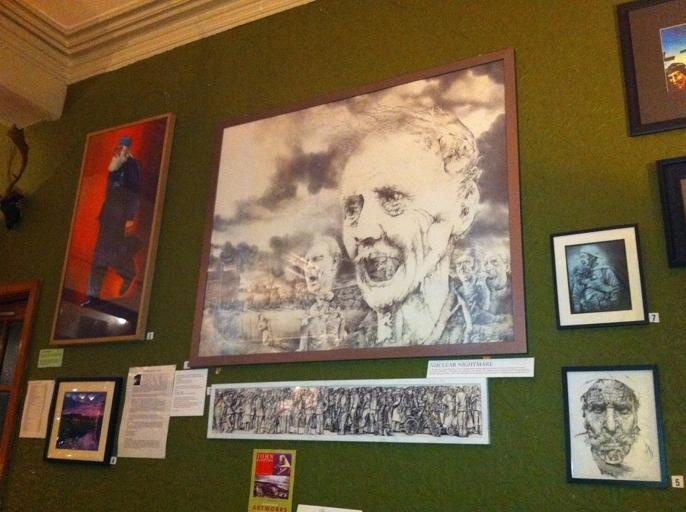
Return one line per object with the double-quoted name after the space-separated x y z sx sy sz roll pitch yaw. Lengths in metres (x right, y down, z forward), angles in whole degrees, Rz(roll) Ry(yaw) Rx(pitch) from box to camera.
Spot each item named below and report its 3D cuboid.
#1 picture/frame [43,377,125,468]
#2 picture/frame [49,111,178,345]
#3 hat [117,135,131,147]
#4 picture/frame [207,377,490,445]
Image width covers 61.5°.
-2.282 1.448 5.110 0.803 0.730 0.095 -6 -17 24 "picture/frame"
-2.149 -0.257 5.470 1.184 2.135 0.257 -8 -22 25 "picture/frame"
-2.127 -1.123 5.650 0.106 0.121 0.102 0 2 3 "hat"
-0.011 1.117 4.167 2.070 0.434 0.119 -6 -21 18 "picture/frame"
